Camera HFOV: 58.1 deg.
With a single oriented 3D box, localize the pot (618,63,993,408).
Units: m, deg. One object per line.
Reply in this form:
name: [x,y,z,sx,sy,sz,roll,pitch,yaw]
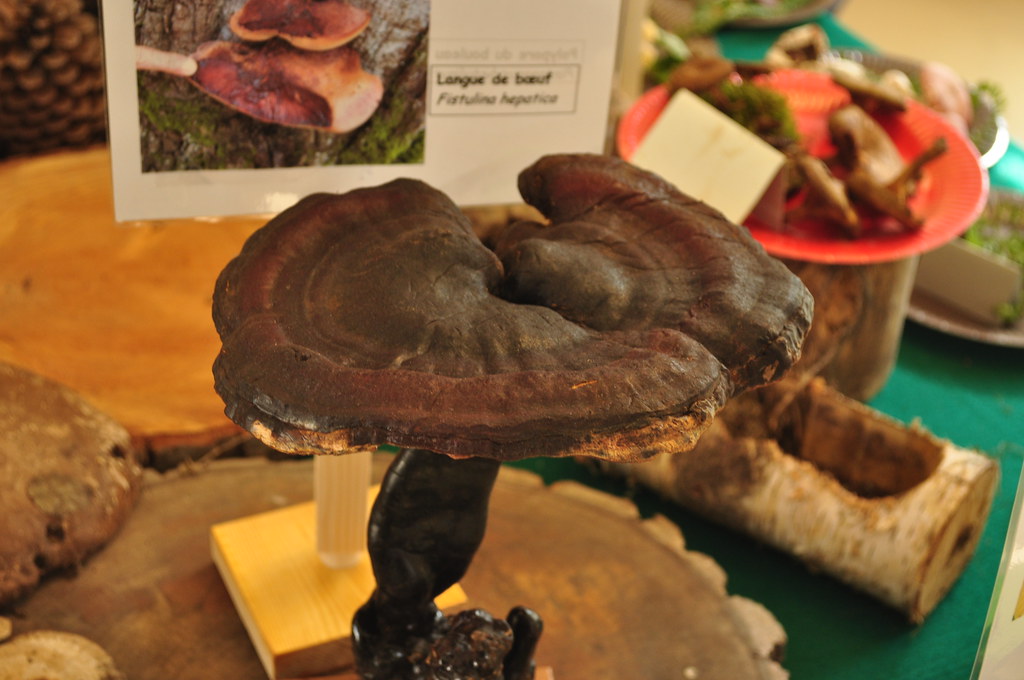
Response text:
pot: [0.838,-0.291,2.904,0.860,0.624,0.933,-1,61,2]
